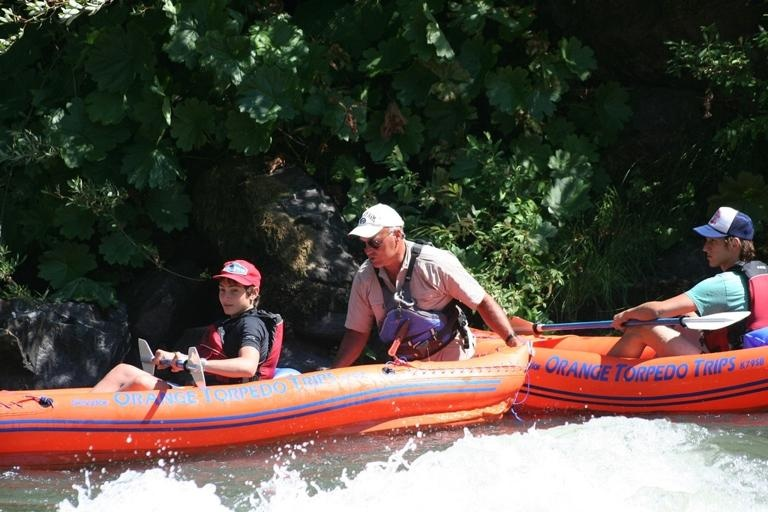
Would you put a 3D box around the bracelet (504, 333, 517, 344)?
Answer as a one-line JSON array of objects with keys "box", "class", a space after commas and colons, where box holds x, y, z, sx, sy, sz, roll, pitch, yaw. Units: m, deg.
[{"box": [1.189, 0.789, 8.964, 0.081, 0.071, 0.091, -15, 28, 25], "class": "bracelet"}]

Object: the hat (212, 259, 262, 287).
[{"box": [-1.348, 0.194, 8.782, 0.347, 0.205, 0.270, 25, -9, -24], "class": "hat"}]

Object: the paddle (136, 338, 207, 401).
[{"box": [-2.017, 1.102, 8.968, 0.499, 0.385, 0.092, 29, 33, 14], "class": "paddle"}]

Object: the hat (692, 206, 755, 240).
[{"box": [3.332, -0.281, 9.200, 0.433, 0.270, 0.309, 13, 4, 12], "class": "hat"}]

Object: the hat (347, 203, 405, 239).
[{"box": [-0.093, -0.298, 8.893, 0.392, 0.280, 0.294, 4, -5, -23], "class": "hat"}]

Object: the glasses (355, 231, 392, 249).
[{"box": [-0.075, -0.139, 8.807, 0.252, 0.174, 0.096, -1, 2, -1], "class": "glasses"}]

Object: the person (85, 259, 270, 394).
[{"box": [-1.729, 0.713, 8.775, 1.443, 1.205, 1.002, 4, -6, -17], "class": "person"}]
